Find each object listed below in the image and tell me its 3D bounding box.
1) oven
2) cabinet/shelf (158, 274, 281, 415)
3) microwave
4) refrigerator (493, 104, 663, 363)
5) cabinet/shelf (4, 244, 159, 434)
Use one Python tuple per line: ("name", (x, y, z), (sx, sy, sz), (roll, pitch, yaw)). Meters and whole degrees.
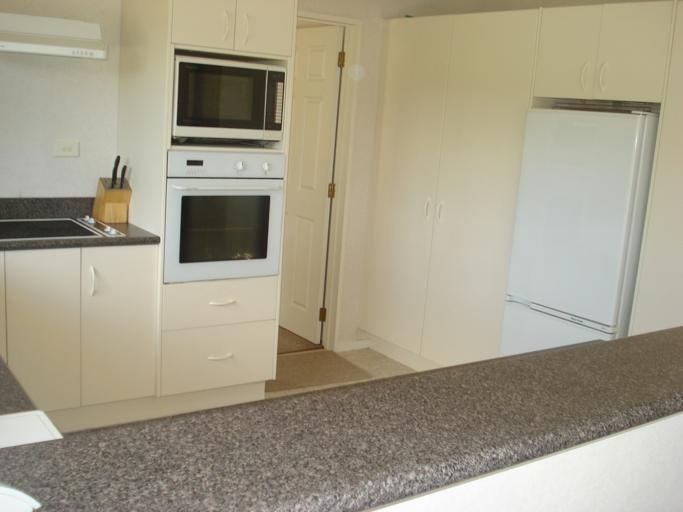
("oven", (-0.656, -0.174, 3.209), (0.706, 0.771, 0.533), (0, -14, -1))
("cabinet/shelf", (-0.845, 0.449, 3.340), (0.736, 0.704, 0.545), (-1, 10, -30))
("microwave", (-0.651, -0.846, 2.945), (0.801, 0.513, 0.454), (-5, 18, -33))
("refrigerator", (1.326, -0.081, 3.040), (0.232, 1.490, 0.693), (-7, 13, -44))
("cabinet/shelf", (-1.295, 0.353, 2.579), (0.952, 0.962, 0.439), (-2, 6, -29))
